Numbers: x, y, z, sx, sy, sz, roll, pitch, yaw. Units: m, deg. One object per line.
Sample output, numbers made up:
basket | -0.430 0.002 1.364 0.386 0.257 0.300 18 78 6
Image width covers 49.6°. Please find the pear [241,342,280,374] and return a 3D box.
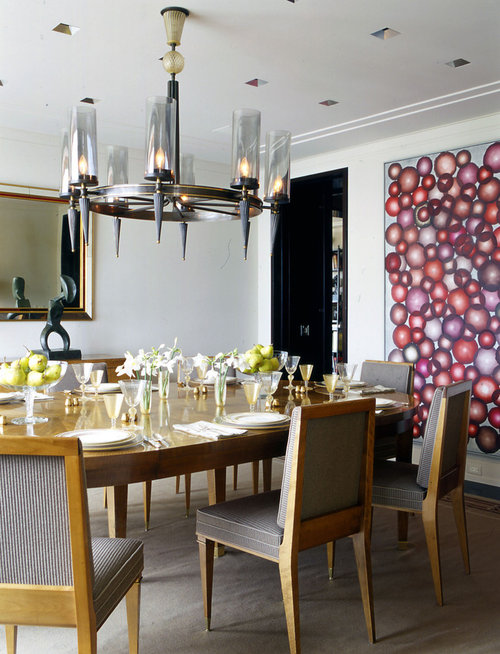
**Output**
pear | 0.043 0.130 2.441 0.119 0.096 0.135 -1 -1 -30

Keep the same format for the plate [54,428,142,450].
plate | -0.421 0.321 1.590 0.218 0.031 0.272 2 -3 -35

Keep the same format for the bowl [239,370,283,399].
bowl | 0.046 0.223 2.245 0.162 0.134 0.173 1 -3 0

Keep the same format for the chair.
chair | 0.165 0.611 1.917 1.822 0.823 0.789 2 -3 -36
